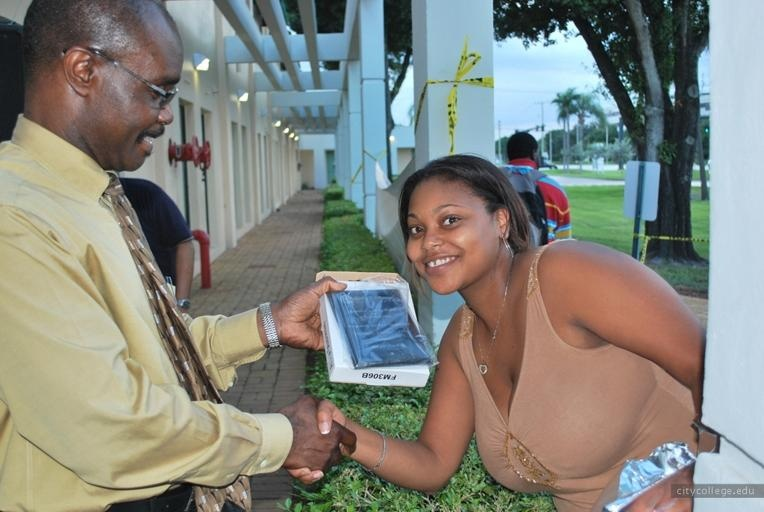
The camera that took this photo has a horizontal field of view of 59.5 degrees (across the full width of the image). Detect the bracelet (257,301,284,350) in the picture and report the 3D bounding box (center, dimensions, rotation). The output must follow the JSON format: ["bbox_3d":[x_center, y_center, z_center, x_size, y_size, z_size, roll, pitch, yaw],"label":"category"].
[{"bbox_3d":[-0.510,0.317,3.050,0.051,0.190,0.126,-16,-9,17],"label":"bracelet"}]

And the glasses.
[{"bbox_3d":[-0.900,-0.648,2.385,0.218,0.058,0.200,45,-17,-31],"label":"glasses"}]
